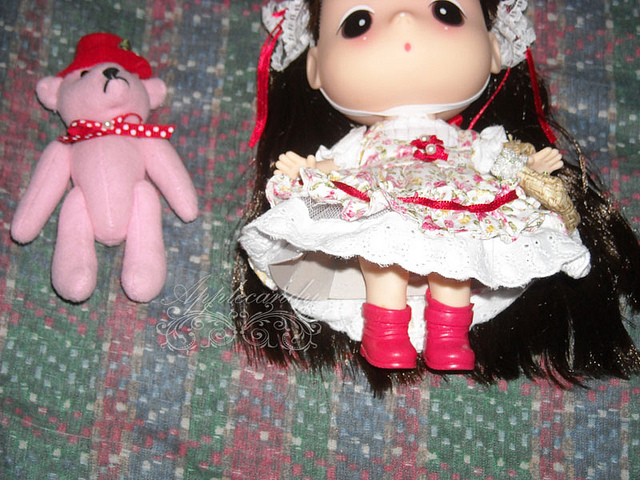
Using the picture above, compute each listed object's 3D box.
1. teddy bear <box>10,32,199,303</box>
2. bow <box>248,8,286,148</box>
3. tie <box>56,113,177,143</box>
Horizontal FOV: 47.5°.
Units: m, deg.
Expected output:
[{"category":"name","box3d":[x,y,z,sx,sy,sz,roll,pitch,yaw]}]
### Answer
[{"category":"teddy bear","box3d":[-0.648,-0.232,2.202,0.518,0.303,0.825,-1,80,-14]},{"category":"bow","box3d":[-0.172,-0.521,2.416,0.048,0.070,0.478,11,95,25]},{"category":"tie","box3d":[-0.626,-0.343,2.229,0.342,0.070,0.103,-6,83,-9]}]
